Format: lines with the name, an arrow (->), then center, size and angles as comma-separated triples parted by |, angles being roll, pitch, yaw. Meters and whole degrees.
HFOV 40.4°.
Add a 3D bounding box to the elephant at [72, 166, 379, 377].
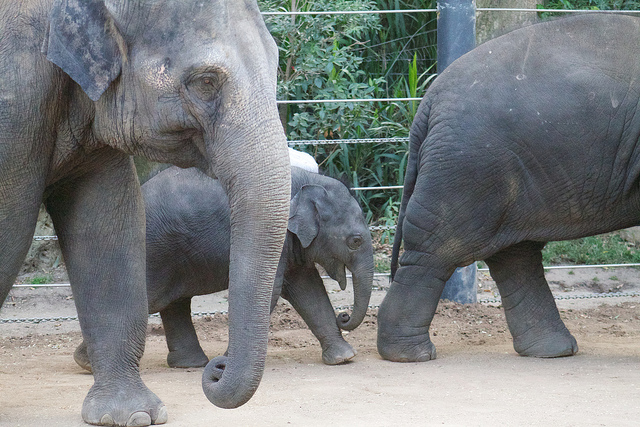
elephant -> -0.530, 0.301, 4.630 | 1.775, 1.040, 0.654 | -1, 1, -19
